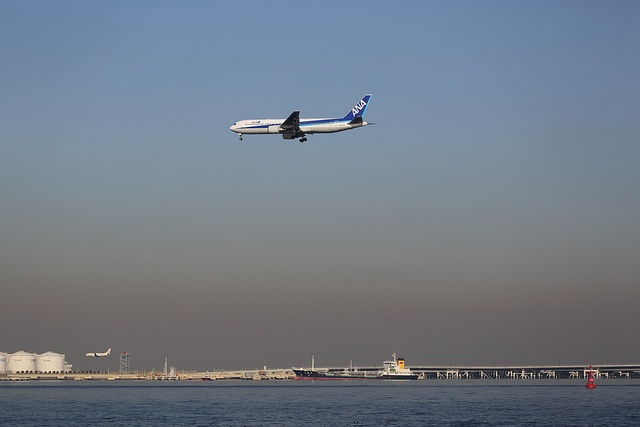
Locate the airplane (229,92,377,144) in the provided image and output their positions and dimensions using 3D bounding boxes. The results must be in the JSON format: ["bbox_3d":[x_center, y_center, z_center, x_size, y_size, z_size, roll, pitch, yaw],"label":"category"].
[{"bbox_3d":[-4.960,-20.864,380.126,33.511,11.505,30.102,2,-6,17],"label":"airplane"}]
